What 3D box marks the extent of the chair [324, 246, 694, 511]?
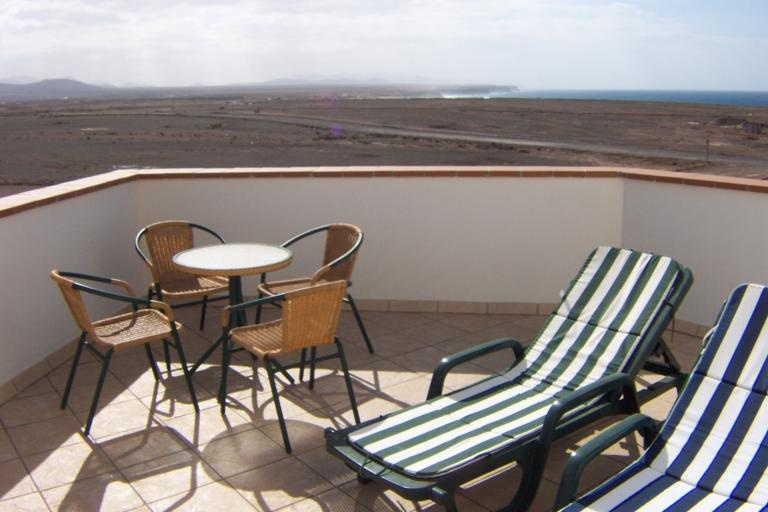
[{"bbox_3d":[0.807,0.632,3.347,2.791,1.072,1.176,-11,15,-28],"label":"chair"}]
